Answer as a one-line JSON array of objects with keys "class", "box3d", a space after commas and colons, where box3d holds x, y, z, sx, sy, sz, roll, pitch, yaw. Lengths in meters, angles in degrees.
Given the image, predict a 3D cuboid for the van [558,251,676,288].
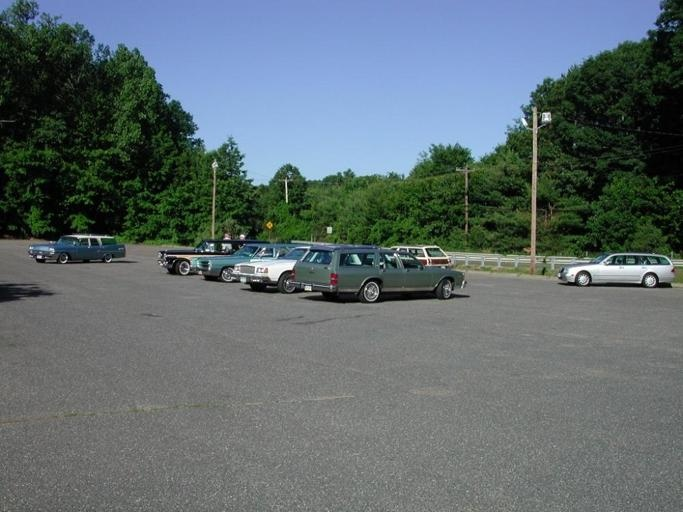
[{"class": "van", "box3d": [15.332, 0.822, 28.401, 5.634, 2.144, 1.138, 2, 0, -6]}]
